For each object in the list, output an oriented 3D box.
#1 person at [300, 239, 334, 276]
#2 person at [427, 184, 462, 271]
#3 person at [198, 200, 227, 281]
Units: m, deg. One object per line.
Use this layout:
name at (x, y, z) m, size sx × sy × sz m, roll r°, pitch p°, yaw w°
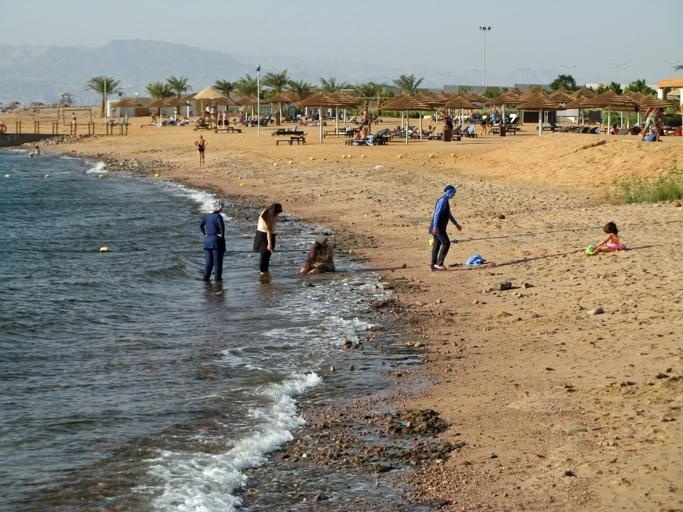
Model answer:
person at (-0.490, -0.021, 15.555) m, size 0.742 × 0.771 × 0.369 m, roll 1°, pitch 11°, yaw 10°
person at (2.072, -0.584, 15.079) m, size 0.579 × 1.683 × 1.047 m, roll 1°, pitch 11°, yaw 7°
person at (-2.542, -0.299, 14.905) m, size 0.454 × 1.671 × 1.216 m, roll -3°, pitch 11°, yaw -10°
